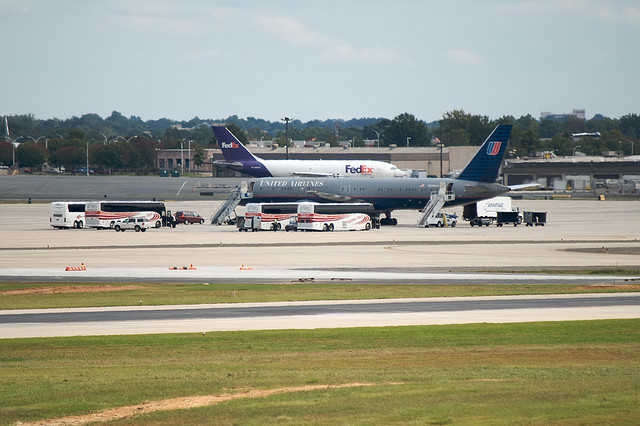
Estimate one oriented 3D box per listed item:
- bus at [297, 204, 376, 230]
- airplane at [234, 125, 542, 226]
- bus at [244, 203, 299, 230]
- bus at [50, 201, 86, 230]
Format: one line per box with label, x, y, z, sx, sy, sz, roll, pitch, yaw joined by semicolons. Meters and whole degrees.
bus;2.140;0.411;131.304;4.214;2.636;8.675;4;3;43
airplane;5.950;-2.893;153.028;41.140;9.535;13.064;0;0;-7
bus;-4.566;0.310;132.319;2.323;2.589;7.000;1;3;38
bus;-25.750;0.247;131.464;3.426;2.657;1.246;1;3;-35
